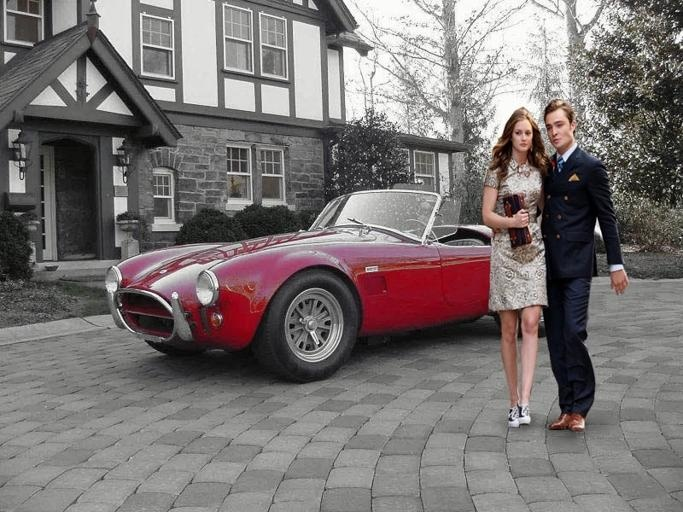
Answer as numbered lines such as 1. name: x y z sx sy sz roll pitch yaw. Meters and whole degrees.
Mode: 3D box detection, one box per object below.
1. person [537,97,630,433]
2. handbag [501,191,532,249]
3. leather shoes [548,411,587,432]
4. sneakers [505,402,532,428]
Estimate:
1. person: 1.542 0.022 3.211 0.482 2.129 0.410 0 3 24
2. handbag: 1.184 -0.238 3.335 0.080 0.351 0.330 -7 20 25
3. leather shoes: 1.428 1.030 3.139 0.209 0.085 0.109 10 -12 -41
4. sneakers: 1.141 1.028 3.216 0.072 0.096 0.222 -3 -11 10
